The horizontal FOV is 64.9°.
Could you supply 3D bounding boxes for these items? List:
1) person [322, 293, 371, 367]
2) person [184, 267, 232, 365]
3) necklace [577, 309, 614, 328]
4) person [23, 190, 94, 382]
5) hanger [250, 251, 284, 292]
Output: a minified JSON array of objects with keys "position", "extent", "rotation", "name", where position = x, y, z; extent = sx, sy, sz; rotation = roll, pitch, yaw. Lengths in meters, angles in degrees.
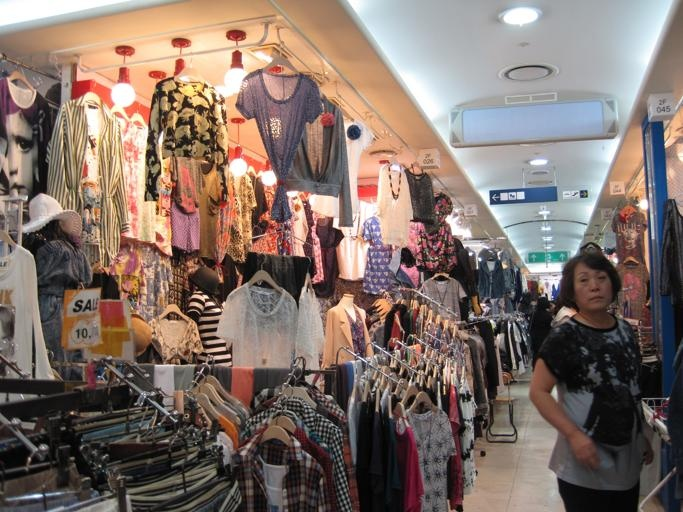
[{"position":[0.039,0.825,5.905],"extent":[0.624,0.896,0.322],"rotation":[7,-16,-32],"name":"person"},{"position":[-1.421,0.583,5.660],"extent":[0.405,1.005,1.285],"rotation":[-1,0,-17],"name":"person"},{"position":[1.373,0.347,2.936],"extent":[0.101,0.080,0.148],"rotation":[1,-7,-6],"name":"necklace"},{"position":[-1.992,0.195,3.773],"extent":[0.420,1.441,1.052],"rotation":[-1,0,-31],"name":"person"},{"position":[-0.660,0.153,4.676],"extent":[0.287,0.270,0.040],"rotation":[10,-10,-34],"name":"hanger"}]
